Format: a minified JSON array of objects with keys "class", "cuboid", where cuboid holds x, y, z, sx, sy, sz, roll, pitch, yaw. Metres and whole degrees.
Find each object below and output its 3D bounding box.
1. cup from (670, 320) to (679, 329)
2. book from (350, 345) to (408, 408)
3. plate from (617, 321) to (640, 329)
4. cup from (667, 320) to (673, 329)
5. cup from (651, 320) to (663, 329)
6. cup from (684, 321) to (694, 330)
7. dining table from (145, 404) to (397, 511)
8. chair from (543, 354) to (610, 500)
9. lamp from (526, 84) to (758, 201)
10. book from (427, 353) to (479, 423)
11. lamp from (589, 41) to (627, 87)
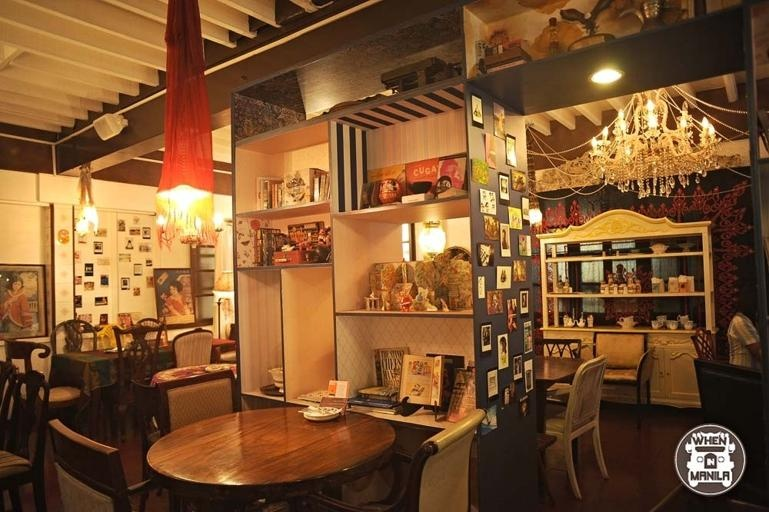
[{"class":"cup","cuboid":[4.015,0.968,7.959,0.120,0.088,0.116,0,-4,0]},{"class":"book","cuboid":[0.013,1.039,4.960,0.509,0.493,0.415,-3,-9,39]},{"class":"plate","cuboid":[3.572,1.004,8.313,0.221,0.146,0.146,-2,0,9]},{"class":"cup","cuboid":[3.978,0.968,7.975,0.097,0.079,0.103,0,-4,0]},{"class":"cup","cuboid":[3.883,0.985,8.119,0.177,0.125,0.113,1,-3,1]},{"class":"cup","cuboid":[4.178,0.965,7.860,0.107,0.114,0.105,1,-5,0]},{"class":"dining table","cuboid":[-0.823,1.519,4.205,1.754,0.517,0.913,-2,-5,1]},{"class":"chair","cuboid":[1.919,1.660,5.706,0.592,1.312,0.975,-3,-5,19]},{"class":"lamp","cuboid":[3.632,-1.570,7.823,1.872,1.512,3.438,-2,-1,22]},{"class":"book","cuboid":[0.583,1.068,4.561,0.117,0.429,0.481,15,-9,-38]},{"class":"lamp","cuboid":[1.749,-1.479,4.479,0.200,0.199,0.207,1,0,-34]}]
